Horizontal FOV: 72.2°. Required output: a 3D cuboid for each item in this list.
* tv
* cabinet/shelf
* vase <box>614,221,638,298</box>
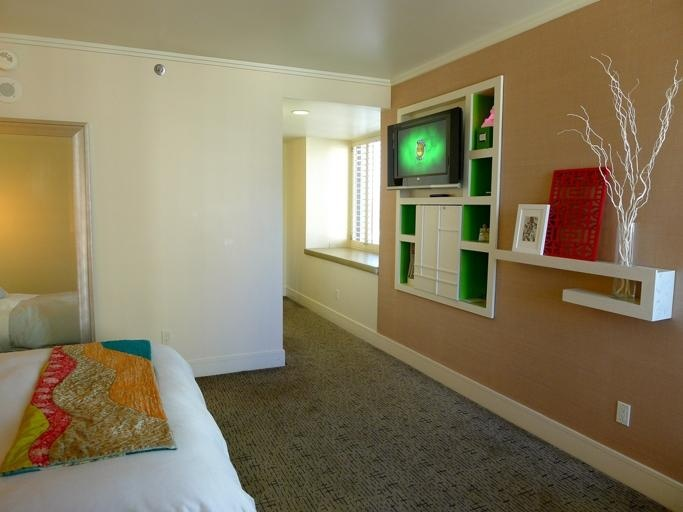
[{"bbox_3d":[0.751,-0.946,4.072,0.087,0.598,0.782,-3,4,-28],"label":"tv"},{"bbox_3d":[0.985,-0.506,4.023,0.357,1.862,1.300,-5,11,-27],"label":"cabinet/shelf"},{"bbox_3d":[1.661,0.029,2.704,0.133,0.435,0.104,5,11,27],"label":"vase"}]
